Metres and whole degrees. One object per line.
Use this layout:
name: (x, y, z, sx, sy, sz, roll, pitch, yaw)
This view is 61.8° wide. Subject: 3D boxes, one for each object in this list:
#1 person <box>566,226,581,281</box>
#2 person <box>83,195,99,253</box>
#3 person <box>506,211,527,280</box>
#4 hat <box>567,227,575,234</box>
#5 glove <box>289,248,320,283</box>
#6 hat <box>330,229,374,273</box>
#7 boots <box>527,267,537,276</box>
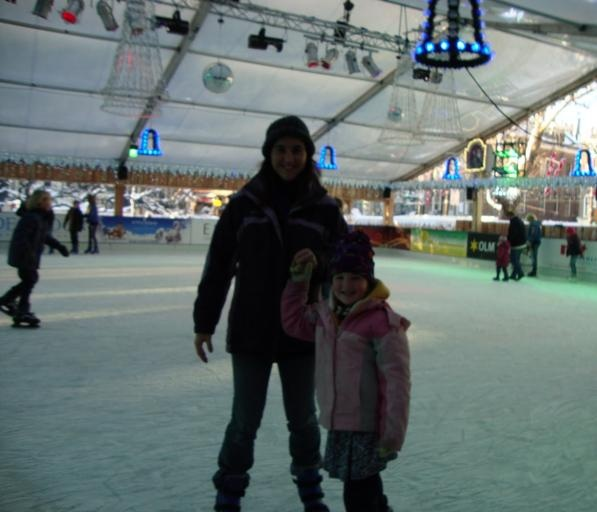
person: (5.609, -0.082, 10.142, 0.315, 0.998, 0.864, 2, 2, 29)
person: (-5.517, -0.842, 13.345, 0.336, 1.536, 1.448, 0, 2, -23)
person: (4.288, -0.207, 9.901, 0.475, 1.362, 0.308, 0, 2, -33)
hat: (5.421, -0.503, 9.937, 0.099, 0.123, 0.144, -2, -22, 34)
glove: (0.013, 0.036, 1.891, 0.084, 0.125, 0.054, 2, -9, 4)
hat: (0.210, -0.007, 1.977, 0.127, 0.182, 0.177, 6, -11, 2)
boots: (5.038, 0.352, 10.798, 0.234, 0.242, 0.122, 5, 1, 17)
